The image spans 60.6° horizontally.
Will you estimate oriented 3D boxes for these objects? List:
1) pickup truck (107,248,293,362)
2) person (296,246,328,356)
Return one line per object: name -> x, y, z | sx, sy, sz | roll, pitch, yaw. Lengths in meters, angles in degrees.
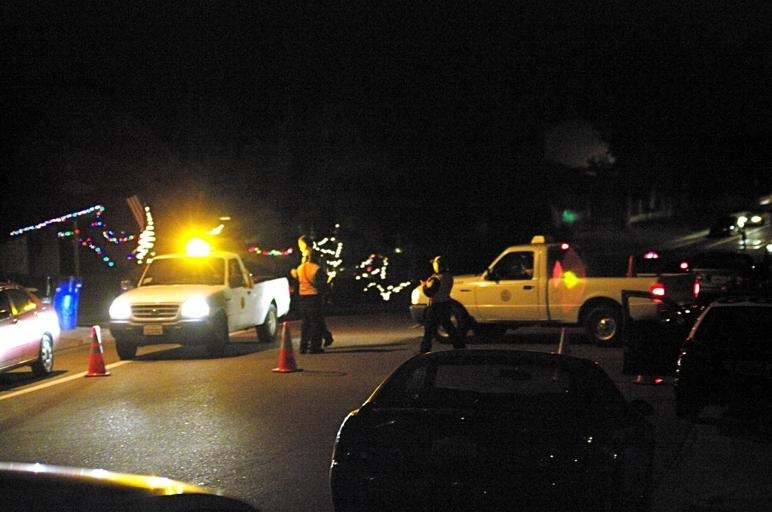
pickup truck -> -4.376, 1.099, 16.680 | 2.587, 1.492, 4.044 | -2, -4, 12
person -> -1.783, 0.929, 15.535 | 0.697, 2.708, 0.767 | -1, 1, -5
